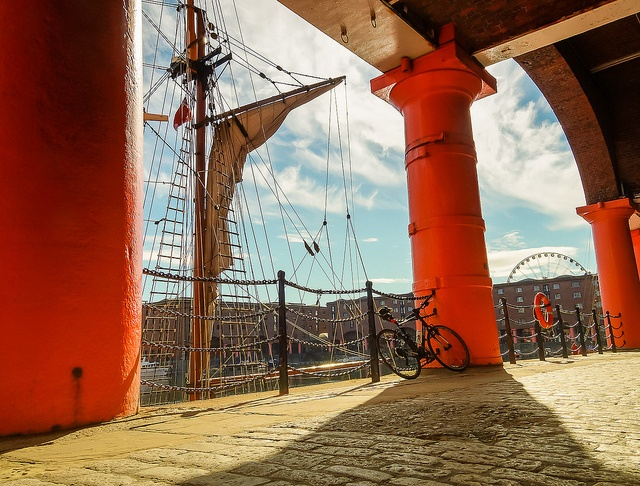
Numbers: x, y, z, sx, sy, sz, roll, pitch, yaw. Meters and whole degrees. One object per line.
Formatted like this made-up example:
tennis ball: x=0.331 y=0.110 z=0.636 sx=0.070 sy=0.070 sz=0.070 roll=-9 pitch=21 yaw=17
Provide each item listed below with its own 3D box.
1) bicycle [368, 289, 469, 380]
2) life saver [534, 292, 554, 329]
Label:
bicycle: x=1.734 y=1.504 z=7.223 sx=1.445 sy=1.405 sz=1.440 roll=-9 pitch=-15 yaw=16
life saver: x=4.792 y=1.412 z=9.109 sx=0.355 sy=0.770 sz=0.797 roll=-11 pitch=-15 yaw=26
